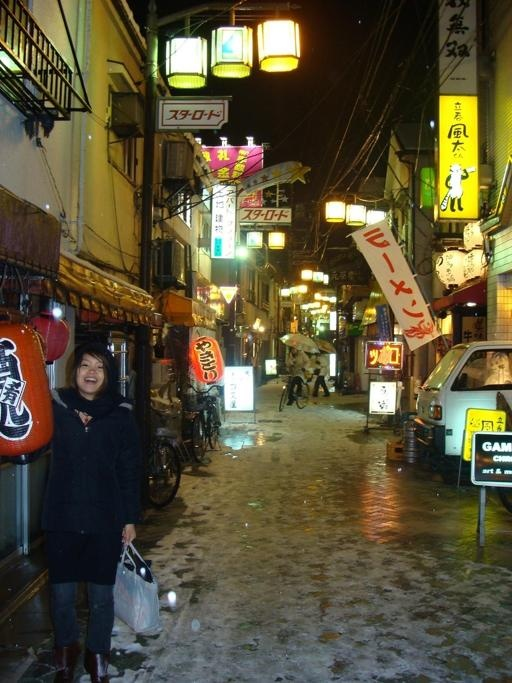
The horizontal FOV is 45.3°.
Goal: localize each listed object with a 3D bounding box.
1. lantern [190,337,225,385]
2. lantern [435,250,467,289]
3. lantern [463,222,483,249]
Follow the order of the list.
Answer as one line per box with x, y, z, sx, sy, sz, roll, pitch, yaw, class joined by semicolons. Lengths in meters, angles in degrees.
-1.132;0.416;13.911;0.675;1.024;0.327;-1;0;-12;lantern
4.828;-1.825;15.391;0.877;1.003;0.869;-4;5;-34;lantern
5.299;-2.614;14.998;0.464;0.499;0.663;-1;0;19;lantern
